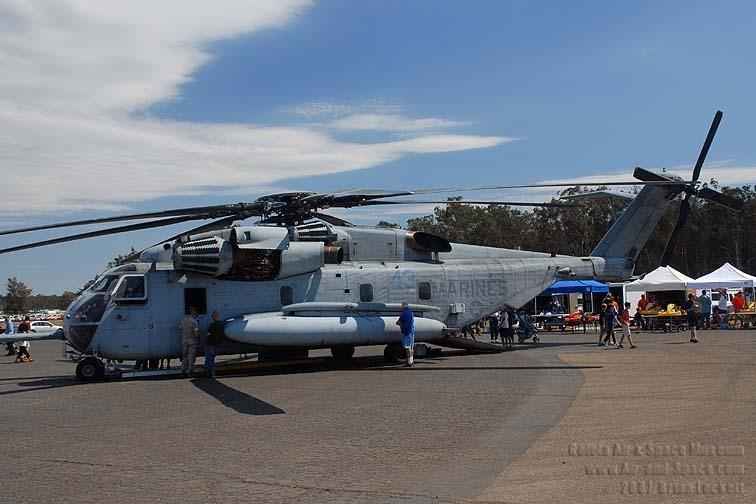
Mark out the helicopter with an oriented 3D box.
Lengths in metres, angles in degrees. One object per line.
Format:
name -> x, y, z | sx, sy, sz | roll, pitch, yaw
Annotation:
helicopter -> -1.265, 0.918, 21.415 | 15.703, 4.876, 11.736 | 0, -2, -20
